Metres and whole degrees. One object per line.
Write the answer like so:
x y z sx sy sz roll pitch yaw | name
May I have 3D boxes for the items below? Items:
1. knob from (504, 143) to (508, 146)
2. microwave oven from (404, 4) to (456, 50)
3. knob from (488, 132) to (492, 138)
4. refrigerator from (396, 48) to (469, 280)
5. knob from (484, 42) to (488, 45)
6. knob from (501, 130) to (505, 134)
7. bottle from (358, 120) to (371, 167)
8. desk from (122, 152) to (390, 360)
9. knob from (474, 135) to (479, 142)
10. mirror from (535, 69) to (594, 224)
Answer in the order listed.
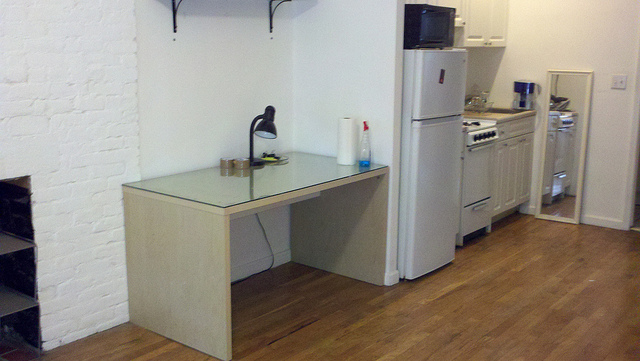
2.243 -0.427 5.554 0.039 0.024 0.021 -17 26 -39 | knob
1.040 -1.435 4.423 0.441 0.472 0.800 9 19 31 | microwave oven
1.911 -0.511 5.174 0.021 0.064 0.083 16 26 40 | knob
1.056 -0.157 4.491 0.502 2.141 0.974 17 28 41 | refrigerator
2.066 -1.693 5.725 0.030 0.025 0.028 3 8 -14 | knob
2.183 -0.576 5.506 0.033 0.037 0.060 16 25 39 | knob
0.415 -0.342 4.297 0.119 0.390 0.205 0 20 5 | bottle
-0.586 0.558 4.093 2.108 1.240 1.090 -16 24 -34 | desk
1.707 -0.452 5.022 0.066 0.056 0.015 3 -2 -18 | knob
3.049 -0.415 5.771 0.514 1.792 0.602 6 22 20 | mirror
